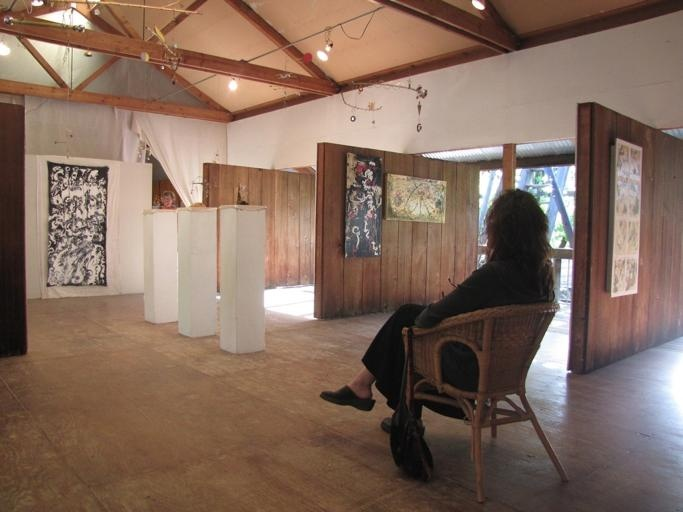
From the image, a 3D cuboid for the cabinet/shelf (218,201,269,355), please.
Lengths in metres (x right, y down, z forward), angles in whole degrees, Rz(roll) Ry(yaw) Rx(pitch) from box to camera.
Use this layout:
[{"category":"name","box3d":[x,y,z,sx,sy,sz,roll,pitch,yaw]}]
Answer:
[{"category":"cabinet/shelf","box3d":[-1.032,0.198,5.404,0.493,1.686,0.397,-7,-10,7]}]

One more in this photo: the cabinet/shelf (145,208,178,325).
[{"category":"cabinet/shelf","box3d":[-2.488,0.148,6.600,0.284,1.153,0.293,-10,23,-41]}]

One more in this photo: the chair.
[{"category":"chair","box3d":[0.878,0.769,3.061,0.800,1.116,0.798,-1,5,-19]}]

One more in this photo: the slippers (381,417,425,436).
[{"category":"slippers","box3d":[0.395,1.186,3.473,0.219,0.065,0.227,3,-4,-16]}]

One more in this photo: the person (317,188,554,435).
[{"category":"person","box3d":[0.587,0.393,3.282,1.350,1.762,0.758,11,2,31]}]

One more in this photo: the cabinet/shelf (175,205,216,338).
[{"category":"cabinet/shelf","box3d":[-1.961,0.244,6.003,0.478,1.671,0.484,3,-9,-34]}]

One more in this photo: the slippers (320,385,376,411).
[{"category":"slippers","box3d":[0.063,0.992,3.456,0.399,0.186,0.163,14,-16,9]}]
